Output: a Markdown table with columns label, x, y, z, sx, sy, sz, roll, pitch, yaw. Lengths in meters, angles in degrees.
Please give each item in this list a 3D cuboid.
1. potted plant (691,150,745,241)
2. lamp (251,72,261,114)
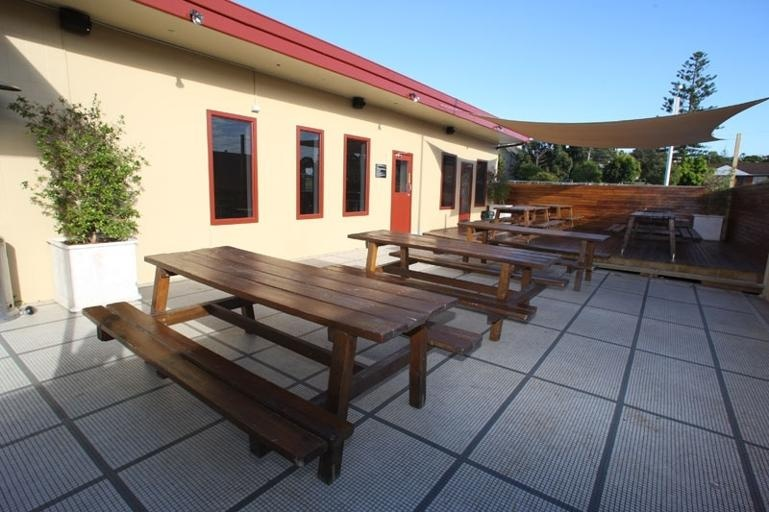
| label | x | y | z | sx | sy | sz | roll | pitch | yaw |
| --- | --- | --- | --- | --- | --- | --- | --- | --- | --- |
| potted plant | 8.702 | -1.619 | 11.436 | 0.806 | 2.115 | 2.961 | 7 | 15 | 35 |
| lamp | -2.200 | -2.765 | 7.309 | 0.143 | 0.677 | 0.274 | -5 | 14 | -14 |
